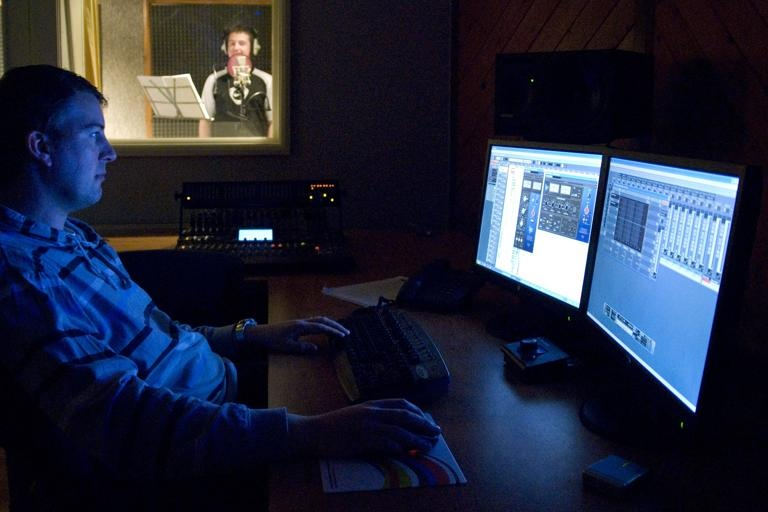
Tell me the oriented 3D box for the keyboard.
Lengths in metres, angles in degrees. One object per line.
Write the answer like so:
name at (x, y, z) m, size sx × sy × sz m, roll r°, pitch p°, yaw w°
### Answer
keyboard at (0.002, 0.213, 1.644) m, size 0.234 × 0.403 × 0.103 m, roll -15°, pitch 47°, yaw 12°

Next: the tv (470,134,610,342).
tv at (0.450, -0.042, 1.713) m, size 0.210 × 0.538 × 0.573 m, roll 1°, pitch 8°, yaw -20°

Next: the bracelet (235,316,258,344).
bracelet at (-0.440, 0.226, 1.870) m, size 0.051 × 0.071 × 0.077 m, roll 5°, pitch 12°, yaw 22°

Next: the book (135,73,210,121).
book at (-1.054, -0.781, 2.956) m, size 0.200 × 0.173 × 0.026 m, roll -18°, pitch 14°, yaw 2°
